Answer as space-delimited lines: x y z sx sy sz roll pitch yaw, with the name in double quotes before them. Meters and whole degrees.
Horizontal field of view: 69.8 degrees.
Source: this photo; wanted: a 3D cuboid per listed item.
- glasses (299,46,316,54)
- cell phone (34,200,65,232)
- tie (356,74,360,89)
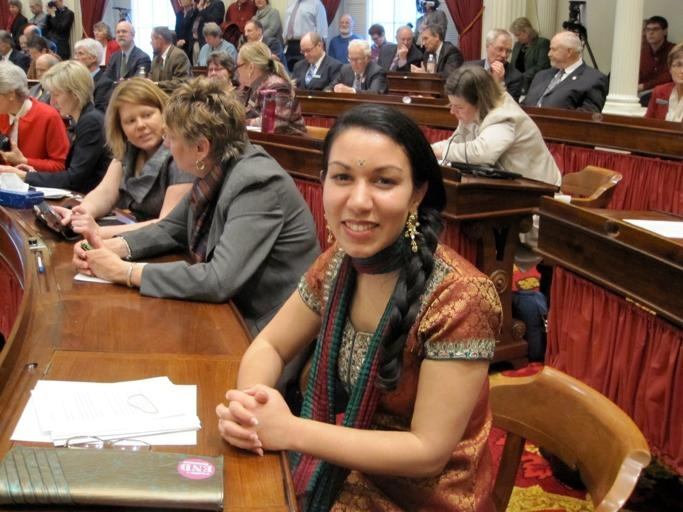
"glasses" -0.614 -3.875 9.154 0.167 0.058 0.177 4 13 24
"cell phone" -1.661 -0.227 2.778 0.089 0.094 0.329 -13 33 -40
"tie" 0.314 -3.215 8.953 0.120 0.214 0.048 1 -4 28
